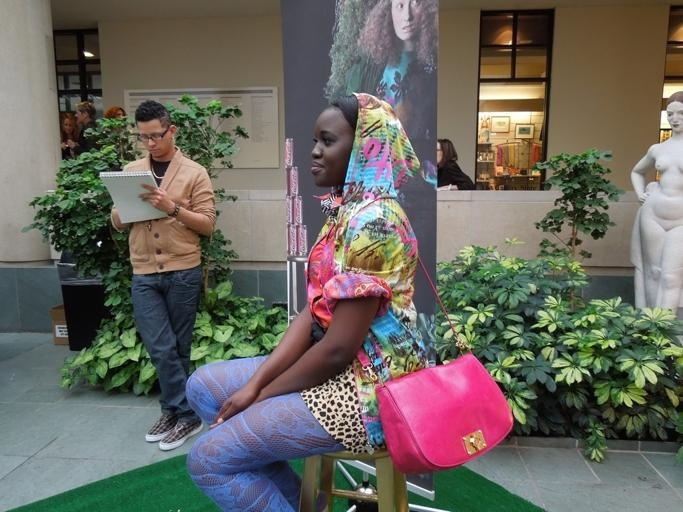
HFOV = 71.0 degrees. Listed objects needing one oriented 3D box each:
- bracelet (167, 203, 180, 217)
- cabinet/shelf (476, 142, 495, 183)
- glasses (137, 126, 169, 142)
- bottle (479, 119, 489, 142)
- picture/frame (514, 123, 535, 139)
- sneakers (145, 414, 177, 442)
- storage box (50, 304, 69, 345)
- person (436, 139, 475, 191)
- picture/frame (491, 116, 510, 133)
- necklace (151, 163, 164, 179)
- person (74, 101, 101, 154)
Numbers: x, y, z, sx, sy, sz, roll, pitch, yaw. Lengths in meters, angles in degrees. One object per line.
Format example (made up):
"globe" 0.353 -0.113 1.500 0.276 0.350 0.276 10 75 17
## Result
"bracelet" -1.139 -0.318 3.328 0.060 0.094 0.087 26 -10 -36
"cabinet/shelf" 2.721 -1.760 9.010 0.451 0.704 0.154 -7 14 -33
"glasses" -1.278 -0.856 3.342 0.129 0.050 0.136 -14 11 20
"bottle" 2.688 -2.348 8.967 0.248 0.453 0.066 -7 14 -32
"picture/frame" 3.440 -2.346 8.944 0.284 0.240 0.024 3 7 14
"sneakers" -1.324 1.284 3.664 0.115 0.141 0.321 2 6 23
"storage box" -3.237 0.822 5.521 0.115 0.409 0.175 -10 15 -42
"person" 1.481 -1.236 6.611 0.414 0.774 0.858 -2 6 6
"picture/frame" 2.997 -2.487 9.003 0.306 0.271 0.031 1 12 3
"necklace" -1.328 -0.617 3.475 0.076 0.050 0.106 -3 52 -22
"person" -3.482 -1.793 6.538 0.282 0.778 2.378 -5 13 -26
